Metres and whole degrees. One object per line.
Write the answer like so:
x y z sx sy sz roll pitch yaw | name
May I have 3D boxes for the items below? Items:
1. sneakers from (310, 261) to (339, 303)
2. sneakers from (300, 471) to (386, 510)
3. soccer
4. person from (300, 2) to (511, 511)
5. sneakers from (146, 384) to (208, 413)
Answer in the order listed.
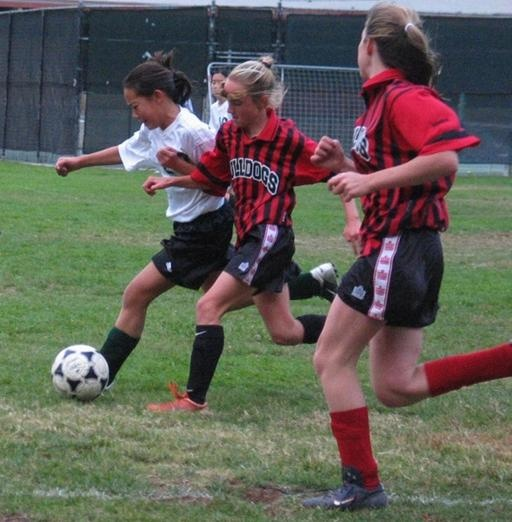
0.462 0.131 5.987 0.160 0.298 0.106 -17 45 9 | sneakers
0.388 0.955 3.795 0.408 0.151 0.134 2 -6 6 | sneakers
-0.906 0.589 4.765 0.340 0.257 0.283 0 -2 2 | soccer
0.624 -0.017 3.764 0.694 2.053 0.664 4 14 3 | person
-0.395 0.724 4.725 0.360 0.142 0.116 3 -2 2 | sneakers
